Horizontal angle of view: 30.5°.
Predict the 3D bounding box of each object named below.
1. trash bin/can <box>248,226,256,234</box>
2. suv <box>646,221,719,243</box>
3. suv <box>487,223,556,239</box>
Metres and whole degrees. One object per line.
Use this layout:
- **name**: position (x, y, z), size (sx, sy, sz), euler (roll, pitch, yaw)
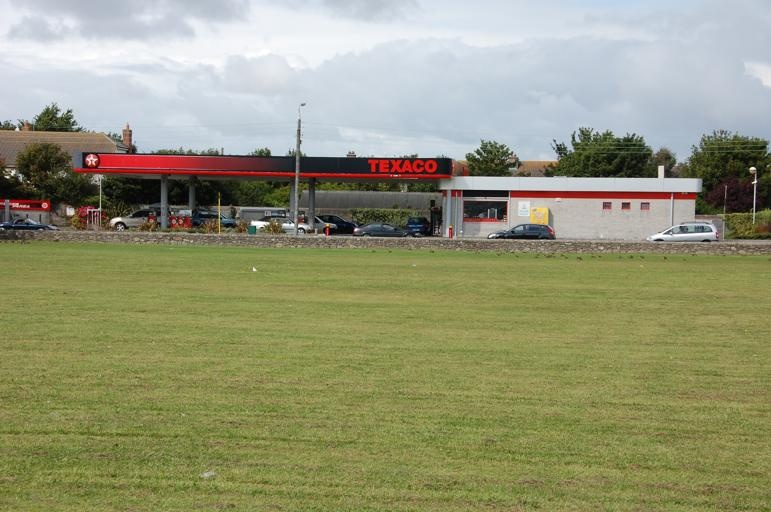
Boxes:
- **trash bin/can**: position (-7.377, -1.426, 78.075), size (0.436, 0.354, 0.401), euler (-1, 4, 0)
- **suv**: position (15.700, -1.198, 74.281), size (3.112, 0.960, 1.550), euler (2, 1, 12)
- **suv**: position (7.511, -1.290, 77.523), size (3.019, 0.863, 1.325), euler (2, 0, -2)
